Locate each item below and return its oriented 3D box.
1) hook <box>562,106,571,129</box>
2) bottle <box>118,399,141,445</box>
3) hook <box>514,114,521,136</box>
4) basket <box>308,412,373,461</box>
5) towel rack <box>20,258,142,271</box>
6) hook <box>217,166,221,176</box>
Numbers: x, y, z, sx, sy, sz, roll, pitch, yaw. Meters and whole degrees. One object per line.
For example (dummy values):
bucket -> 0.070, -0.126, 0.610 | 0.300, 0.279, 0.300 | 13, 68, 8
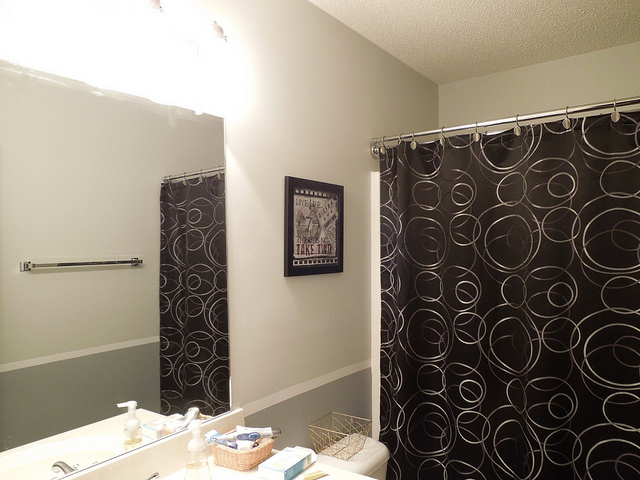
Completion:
hook -> 1.243, -0.606, 2.417 | 0.036, 0.098, 0.132 | -1, 2, 27
bottle -> -0.732, 0.734, 1.864 | 0.065, 0.210, 0.074 | -5, -3, 34
hook -> 1.064, -0.606, 2.583 | 0.031, 0.118, 0.242 | -2, 1, 23
basket -> 0.144, 1.087, 2.675 | 0.341, 0.170, 0.312 | -12, -8, 25
towel rack -> -0.864, 0.087, 1.763 | 0.411, 0.037, 0.022 | -3, 2, -41
hook -> -0.457, -0.313, 2.165 | 0.012, 0.043, 0.029 | -4, 15, -6
